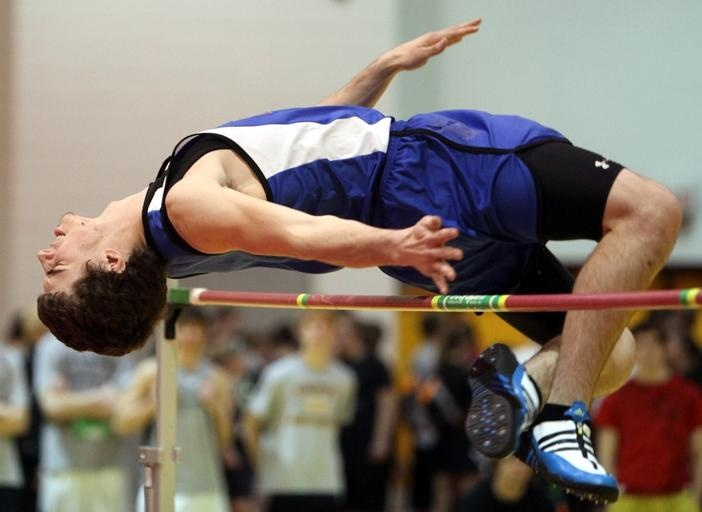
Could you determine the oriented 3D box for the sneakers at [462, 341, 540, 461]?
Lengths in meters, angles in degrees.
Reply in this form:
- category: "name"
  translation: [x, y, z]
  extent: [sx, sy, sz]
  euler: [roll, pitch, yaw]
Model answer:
- category: "sneakers"
  translation: [0.609, 0.587, 3.982]
  extent: [0.216, 0.455, 0.255]
  euler: [23, -26, -38]
